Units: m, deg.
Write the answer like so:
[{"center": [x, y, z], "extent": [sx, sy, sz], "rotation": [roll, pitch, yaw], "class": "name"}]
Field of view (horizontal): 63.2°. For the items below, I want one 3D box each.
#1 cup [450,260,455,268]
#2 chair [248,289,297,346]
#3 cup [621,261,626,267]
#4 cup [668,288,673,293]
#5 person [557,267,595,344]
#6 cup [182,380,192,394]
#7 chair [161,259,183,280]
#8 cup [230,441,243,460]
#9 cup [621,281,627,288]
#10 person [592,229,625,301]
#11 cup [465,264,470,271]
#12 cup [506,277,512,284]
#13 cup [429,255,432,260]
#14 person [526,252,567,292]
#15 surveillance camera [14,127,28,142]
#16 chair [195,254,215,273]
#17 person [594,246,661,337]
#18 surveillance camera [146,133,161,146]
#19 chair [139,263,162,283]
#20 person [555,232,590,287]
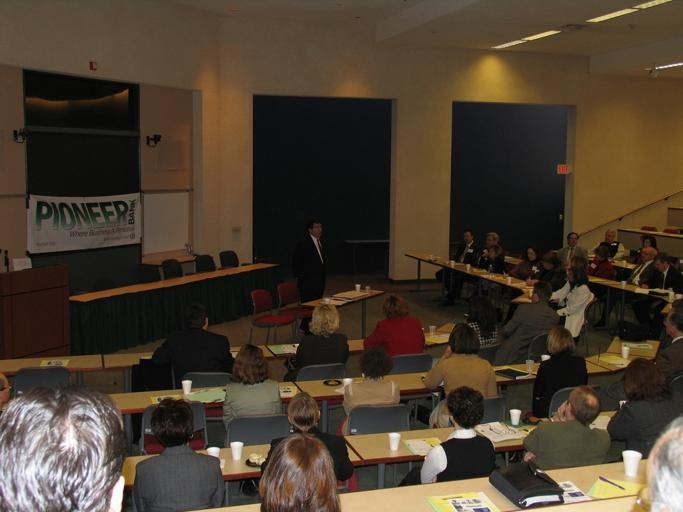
[{"center": [2.221, 0.168, 11.103], "extent": [0.096, 0.165, 0.158], "rotation": [-1, 2, 2], "class": "cup"}, {"center": [-1.077, 0.979, 8.608], "extent": [0.606, 0.923, 0.654], "rotation": [5, 9, 36], "class": "chair"}, {"center": [5.523, 0.165, 10.915], "extent": [0.095, 0.104, 0.183], "rotation": [1, 0, 15], "class": "cup"}, {"center": [5.040, 0.534, 8.544], "extent": [0.039, 0.053, 0.045], "rotation": [1, -1, 38], "class": "cup"}, {"center": [3.226, 0.735, 7.965], "extent": [0.580, 1.108, 0.561], "rotation": [1, 14, 5], "class": "person"}, {"center": [-1.262, 1.082, 4.564], "extent": [0.094, 0.107, 0.097], "rotation": [0, -2, 0], "class": "cup"}, {"center": [-3.098, 0.238, 10.131], "extent": [0.351, 0.586, 0.389], "rotation": [-3, 2, -33], "class": "chair"}, {"center": [-0.668, 1.254, 3.593], "extent": [0.101, 0.113, 0.105], "rotation": [-1, 0, 0], "class": "cup"}, {"center": [4.543, 0.469, 8.968], "extent": [0.069, 0.105, 0.072], "rotation": [0, 12, 0], "class": "cup"}, {"center": [4.994, 0.129, 10.433], "extent": [0.424, 1.224, 0.409], "rotation": [2, 19, 27], "class": "person"}, {"center": [2.415, 0.232, 10.653], "extent": [0.113, 0.134, 0.112], "rotation": [0, 2, 0], "class": "cup"}, {"center": [2.857, 0.428, 9.508], "extent": [0.101, 0.164, 0.117], "rotation": [1, 7, 8], "class": "cup"}, {"center": [1.897, 0.033, 11.909], "extent": [0.080, 0.093, 0.083], "rotation": [0, 0, 0], "class": "cup"}, {"center": [3.479, 0.490, 9.425], "extent": [0.534, 1.054, 0.512], "rotation": [9, 25, 24], "class": "person"}, {"center": [-4.814, -1.821, 8.345], "extent": [0.184, 0.181, 0.123], "rotation": [0, 4, 29], "class": "surveillance camera"}, {"center": [-2.592, 0.125, 10.577], "extent": [0.328, 0.447, 0.333], "rotation": [-3, 6, -33], "class": "chair"}, {"center": [4.721, 0.644, 9.225], "extent": [0.861, 1.376, 1.316], "rotation": [-1, 4, -11], "class": "person"}, {"center": [-3.578, -2.209, 10.614], "extent": [0.257, 0.239, 0.201], "rotation": [-2, 3, -3], "class": "surveillance camera"}, {"center": [-3.591, 0.306, 10.590], "extent": [0.462, 0.486, 0.346], "rotation": [0, 1, 7], "class": "chair"}, {"center": [4.475, 0.251, 10.858], "extent": [0.493, 1.277, 0.432], "rotation": [2, -4, 25], "class": "person"}]
